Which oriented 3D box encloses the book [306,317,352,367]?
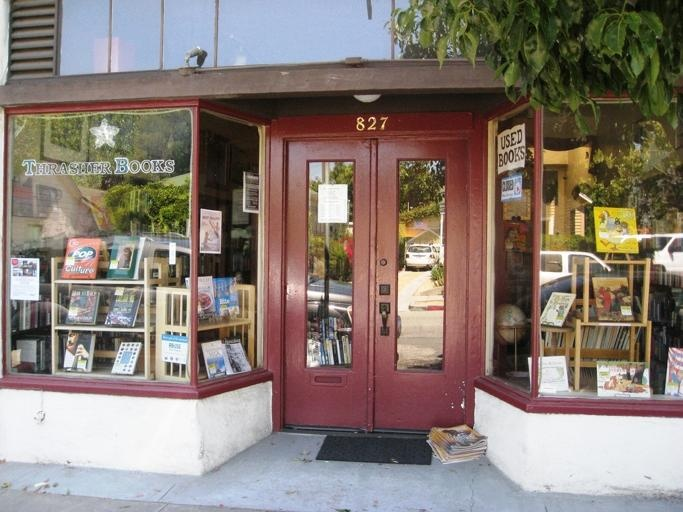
[{"bbox_3d":[-0.124,0.877,6.593,0.434,0.468,0.075,-1,-1,3],"label":"book"}]

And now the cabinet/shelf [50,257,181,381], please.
[{"bbox_3d":[-2.056,0.608,6.139,1.033,1.263,0.688,5,4,-2],"label":"cabinet/shelf"}]

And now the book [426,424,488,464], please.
[{"bbox_3d":[1.100,1.778,6.133,0.507,0.166,0.407,-1,0,-10],"label":"book"}]
